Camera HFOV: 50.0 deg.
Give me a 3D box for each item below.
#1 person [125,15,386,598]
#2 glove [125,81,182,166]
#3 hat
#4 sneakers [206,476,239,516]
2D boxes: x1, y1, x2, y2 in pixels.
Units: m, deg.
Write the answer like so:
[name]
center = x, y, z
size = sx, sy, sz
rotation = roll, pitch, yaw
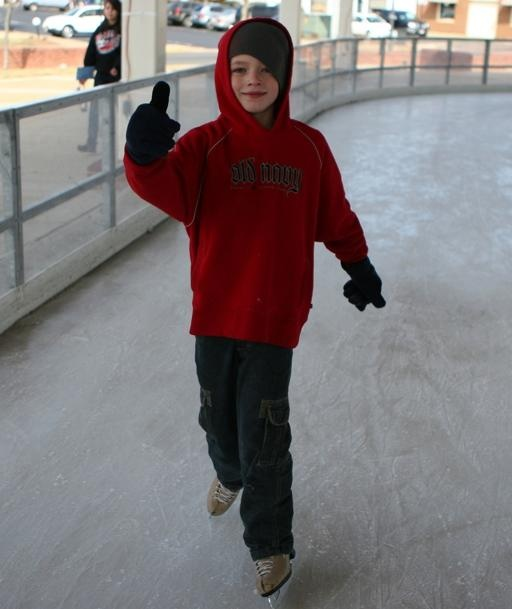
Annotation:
[person]
center = 0.014, 0.002, 1.422
size = 0.375, 1.345, 0.759
rotation = 10, 21, 20
[glove]
center = -0.206, -0.355, 1.068
size = 0.103, 0.150, 0.146
rotation = -3, 21, -14
[hat]
center = 0.018, -0.569, 1.263
size = 0.096, 0.122, 0.133
rotation = 1, 13, -1
[sneakers]
center = -0.096, 0.619, 1.752
size = 0.044, 0.053, 0.129
rotation = 44, 38, 18
